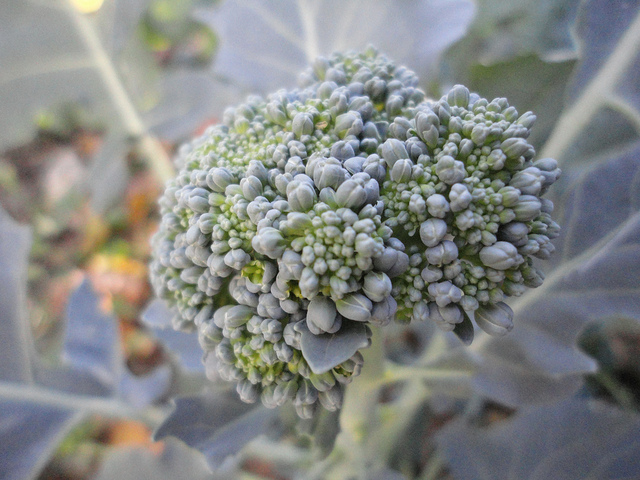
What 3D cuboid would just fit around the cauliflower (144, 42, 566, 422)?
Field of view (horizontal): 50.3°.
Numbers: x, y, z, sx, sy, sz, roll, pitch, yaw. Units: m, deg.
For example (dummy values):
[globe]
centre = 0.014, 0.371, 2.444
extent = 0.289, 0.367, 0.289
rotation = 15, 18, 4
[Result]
[cauliflower]
centre = 0.059, -0.047, 1.326
extent = 0.672, 0.656, 0.478
rotation = -1, 2, 6
